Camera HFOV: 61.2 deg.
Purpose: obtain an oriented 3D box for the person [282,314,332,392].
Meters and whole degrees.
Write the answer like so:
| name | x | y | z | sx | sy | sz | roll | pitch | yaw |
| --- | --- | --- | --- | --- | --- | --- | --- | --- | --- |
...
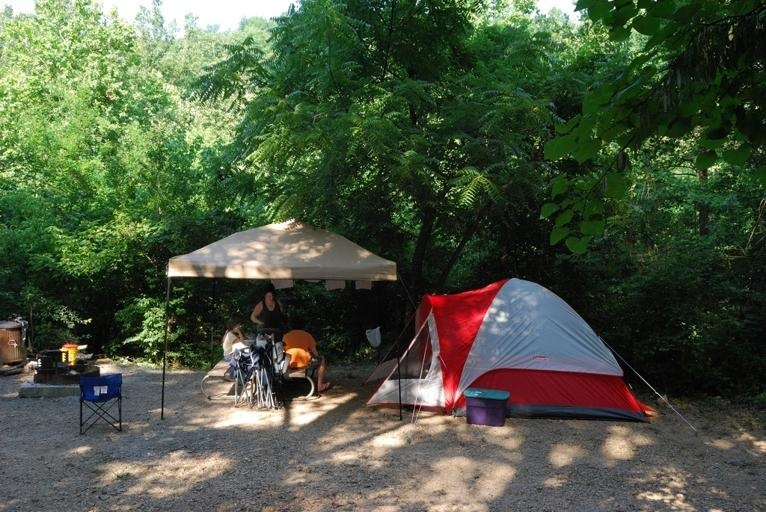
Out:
| name | x | y | z | sx | sy | sz | roll | pitch | yaw |
| --- | --- | --- | --- | --- | --- | --- | --- | --- | --- |
| person | -1.579 | 2.228 | 13.225 | 0.824 | 1.572 | 1.821 | 1 | 11 | 2 |

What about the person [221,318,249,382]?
| name | x | y | z | sx | sy | sz | roll | pitch | yaw |
| --- | --- | --- | --- | --- | --- | --- | --- | --- | --- |
| person | -2.948 | 1.911 | 12.930 | 0.456 | 1.192 | 1.394 | -2 | 11 | -15 |

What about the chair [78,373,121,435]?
| name | x | y | z | sx | sy | sz | roll | pitch | yaw |
| --- | --- | --- | --- | --- | --- | --- | --- | --- | --- |
| chair | -4.695 | 2.458 | 10.755 | 0.816 | 0.919 | 0.814 | -2 | -2 | 8 |

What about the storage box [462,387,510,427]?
| name | x | y | z | sx | sy | sz | roll | pitch | yaw |
| --- | --- | --- | --- | --- | --- | --- | --- | --- | --- |
| storage box | 1.793 | 2.687 | 11.465 | 0.726 | 0.469 | 0.541 | 0 | -4 | 10 |

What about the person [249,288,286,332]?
| name | x | y | z | sx | sy | sz | roll | pitch | yaw |
| --- | --- | --- | --- | --- | --- | --- | --- | --- | --- |
| person | -2.348 | 1.105 | 13.105 | 0.597 | 0.850 | 0.533 | -3 | 12 | -17 |
